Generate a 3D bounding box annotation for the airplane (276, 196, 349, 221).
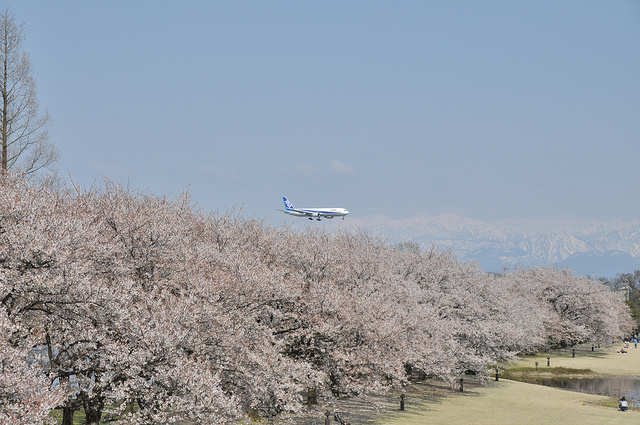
[{"bbox_3d":[-1.370,-0.914,203.546,13.637,4.841,13.273,-1,-4,29],"label":"airplane"}]
